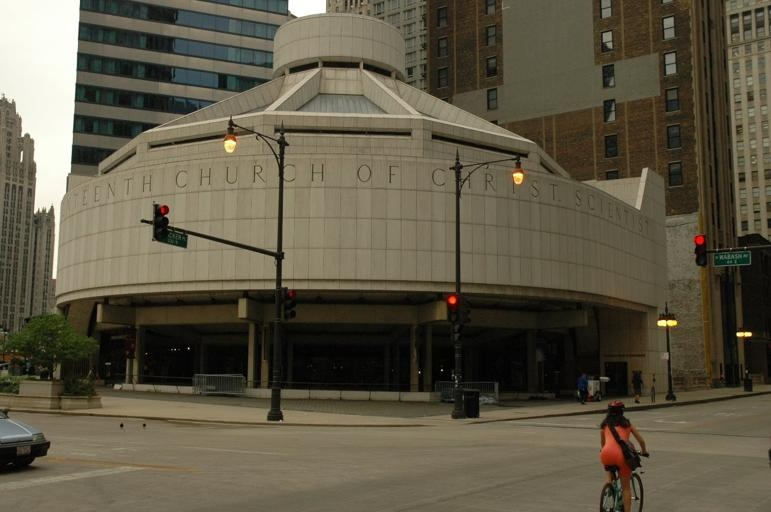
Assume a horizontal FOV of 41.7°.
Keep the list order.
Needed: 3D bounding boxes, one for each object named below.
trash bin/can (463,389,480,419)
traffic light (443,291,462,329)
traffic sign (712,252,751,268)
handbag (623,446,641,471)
[{"bbox_3d":[6.056,10.483,71.628,1.088,1.993,0.634,-2,-11,4],"label":"trash bin/can"},{"bbox_3d":[4.902,3.751,70.525,1.026,2.283,0.900,-1,-11,1],"label":"traffic light"},{"bbox_3d":[22.516,0.137,65.668,1.933,0.932,2.170,-1,-12,0],"label":"traffic sign"},{"bbox_3d":[12.437,10.196,50.896,0.806,1.104,1.194,-8,-50,11],"label":"handbag"}]
